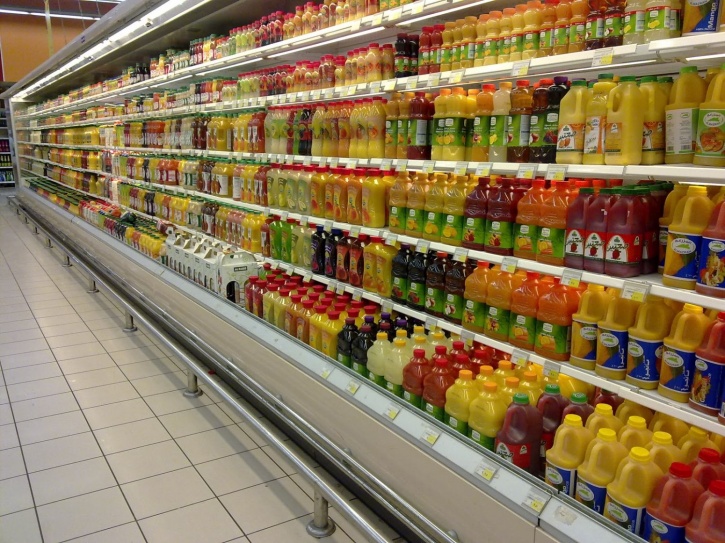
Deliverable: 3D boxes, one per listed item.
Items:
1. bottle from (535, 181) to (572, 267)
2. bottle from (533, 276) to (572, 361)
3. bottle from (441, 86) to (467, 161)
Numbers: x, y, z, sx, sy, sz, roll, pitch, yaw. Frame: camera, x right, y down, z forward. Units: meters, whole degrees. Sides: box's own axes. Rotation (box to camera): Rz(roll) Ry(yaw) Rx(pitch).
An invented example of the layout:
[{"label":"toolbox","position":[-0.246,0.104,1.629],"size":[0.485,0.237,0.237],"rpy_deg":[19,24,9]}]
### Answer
[{"label":"bottle","position":[0.919,-0.229,2.275],"size":[0.128,0.375,0.175],"rpy_deg":[6,17,22]},{"label":"bottle","position":[0.920,0.251,2.259],"size":[0.152,0.325,0.123],"rpy_deg":[6,18,22]},{"label":"bottle","position":[0.517,-0.811,2.649],"size":[0.125,0.384,0.116],"rpy_deg":[-1,16,0]}]
